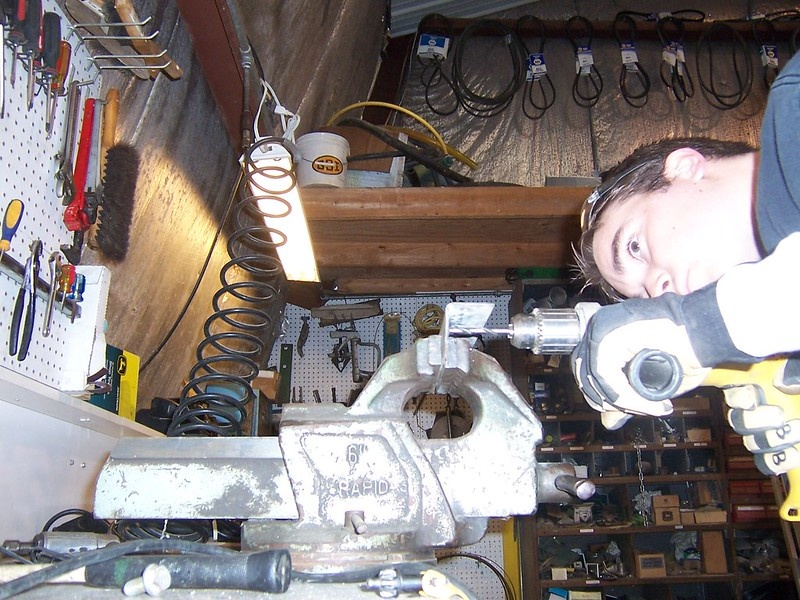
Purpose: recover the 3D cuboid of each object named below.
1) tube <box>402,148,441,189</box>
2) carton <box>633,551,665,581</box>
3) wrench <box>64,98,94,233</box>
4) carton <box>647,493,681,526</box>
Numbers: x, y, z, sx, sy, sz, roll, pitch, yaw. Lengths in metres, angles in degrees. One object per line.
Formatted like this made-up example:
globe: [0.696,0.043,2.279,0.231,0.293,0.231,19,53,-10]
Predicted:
tube: [0.111,-0.737,3.957,0.219,0.220,0.257,-1,87,-1]
carton: [1.623,1.713,4.503,0.185,0.086,0.138,-3,43,-3]
wrench: [-0.954,-0.414,2.088,0.078,0.060,0.330,-1,97,5]
carton: [1.762,1.401,4.660,0.170,0.172,0.177,0,73,3]
